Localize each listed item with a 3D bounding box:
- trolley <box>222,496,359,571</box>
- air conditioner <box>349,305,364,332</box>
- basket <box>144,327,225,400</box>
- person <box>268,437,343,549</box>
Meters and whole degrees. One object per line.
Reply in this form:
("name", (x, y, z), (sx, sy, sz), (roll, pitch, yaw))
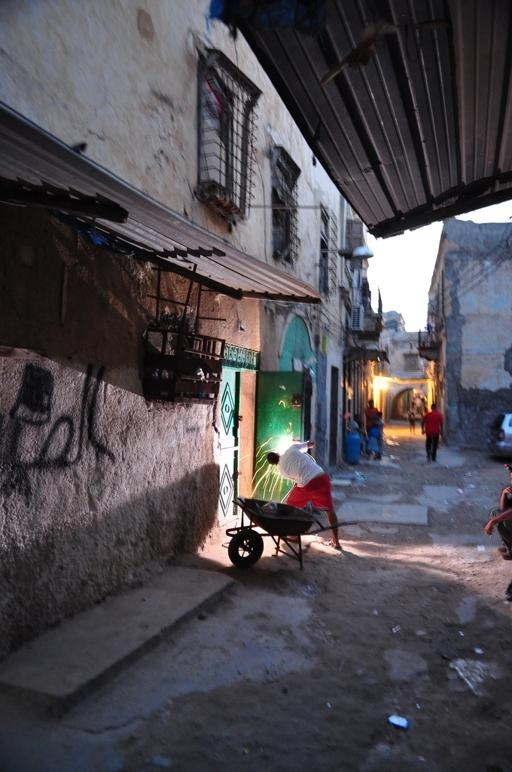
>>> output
("trolley", (0.434, 1.568, 5.341), (1.486, 0.852, 0.790), (12, -9, -29))
("air conditioner", (3.547, -2.427, 17.752), (0.426, 0.920, 0.481), (6, -1, 8))
("basket", (-0.650, -0.192, 4.650), (0.360, 0.579, 0.748), (13, 4, 27))
("person", (0.606, 1.391, 6.292), (0.614, 1.433, 0.786), (-9, -12, -3))
